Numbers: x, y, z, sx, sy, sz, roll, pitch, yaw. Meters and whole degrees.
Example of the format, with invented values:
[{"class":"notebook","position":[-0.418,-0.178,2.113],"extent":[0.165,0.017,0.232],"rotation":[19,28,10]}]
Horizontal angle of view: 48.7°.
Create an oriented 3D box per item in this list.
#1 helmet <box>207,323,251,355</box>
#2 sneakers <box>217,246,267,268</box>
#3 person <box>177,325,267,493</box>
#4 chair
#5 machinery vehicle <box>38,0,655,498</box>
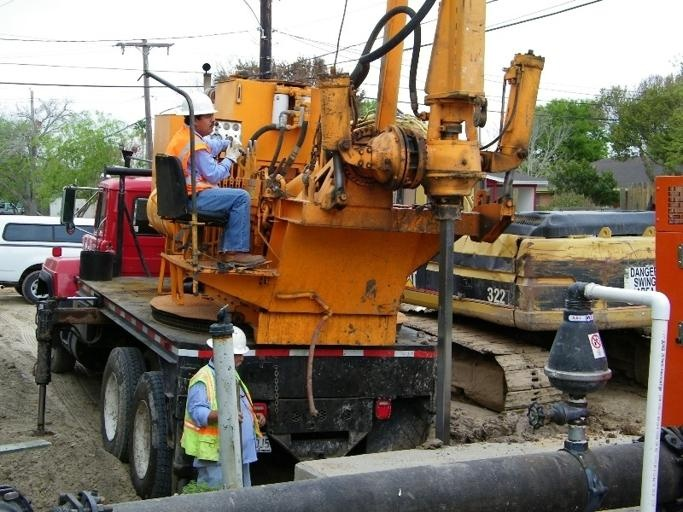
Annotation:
[{"class":"helmet","position":[-0.881,0.705,6.132],"extent":[0.313,0.237,0.433],"rotation":[10,-5,-5]},{"class":"sneakers","position":[-0.885,0.018,6.732],"extent":[0.360,0.169,0.177],"rotation":[-1,2,-7]},{"class":"person","position":[-0.994,1.244,6.090],"extent":[0.670,1.347,1.011],"rotation":[1,6,-4]},{"class":"chair","position":[-1.396,-0.471,7.011],"extent":[0.635,0.873,0.619],"rotation":[-4,6,-39]},{"class":"machinery vehicle","position":[-0.754,0.002,9.083],"extent":[2.392,4.185,6.965],"rotation":[1,1,-22]}]
